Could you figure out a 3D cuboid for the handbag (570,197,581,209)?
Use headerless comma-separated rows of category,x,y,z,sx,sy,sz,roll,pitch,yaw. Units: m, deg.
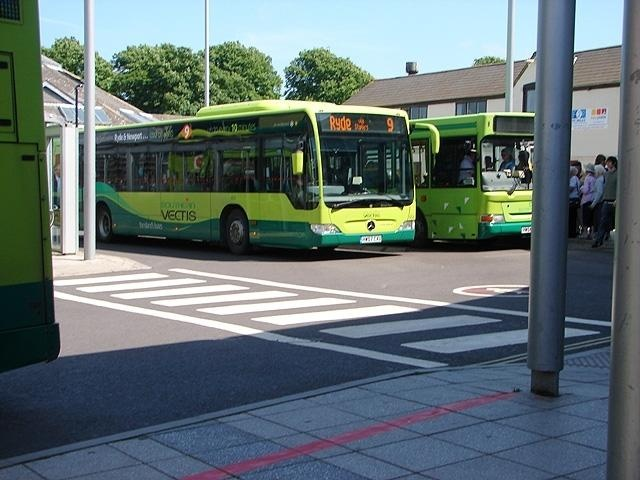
handbag,8.724,-1.263,21.948,0.329,0.319,0.479,-1,15,-6

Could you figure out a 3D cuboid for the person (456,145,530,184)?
person,5.370,-2.228,19.640,2.326,1.245,0.959,-2,5,-21
